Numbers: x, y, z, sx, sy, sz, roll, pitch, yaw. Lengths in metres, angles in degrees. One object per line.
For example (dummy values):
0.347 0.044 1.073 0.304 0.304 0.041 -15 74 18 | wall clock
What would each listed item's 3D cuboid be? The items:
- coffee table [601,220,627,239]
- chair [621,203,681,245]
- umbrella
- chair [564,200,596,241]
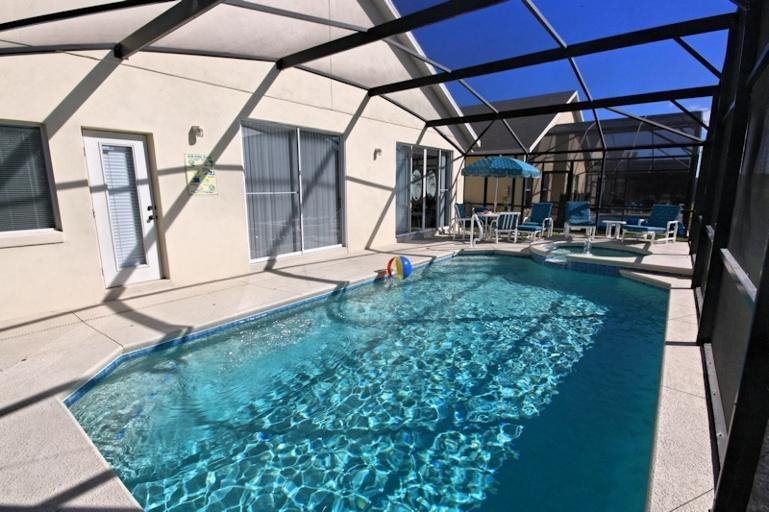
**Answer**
7.733 -0.910 14.205 0.738 0.614 0.713 -6 16 -18 | coffee table
8.052 -0.987 12.763 1.599 1.119 0.983 -4 11 -26 | chair
3.611 -2.294 13.648 2.338 2.047 2.276 -6 11 -43 | umbrella
6.741 -1.298 14.556 0.863 1.027 1.165 1 16 16 | chair
